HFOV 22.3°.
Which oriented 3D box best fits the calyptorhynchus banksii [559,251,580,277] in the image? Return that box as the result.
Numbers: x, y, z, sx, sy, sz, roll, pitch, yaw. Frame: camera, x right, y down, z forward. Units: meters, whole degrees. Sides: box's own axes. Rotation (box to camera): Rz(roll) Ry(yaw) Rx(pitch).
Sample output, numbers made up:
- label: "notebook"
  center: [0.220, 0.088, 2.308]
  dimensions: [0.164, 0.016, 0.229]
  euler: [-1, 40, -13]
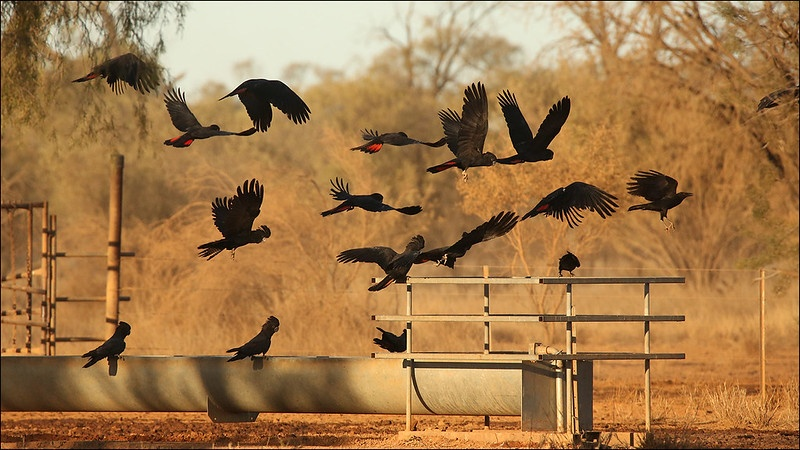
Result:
- label: "calyptorhynchus banksii"
  center: [5.036, 0.977, 59.861]
  dimensions: [0.485, 0.599, 0.934]
  euler: [1, 6, -3]
